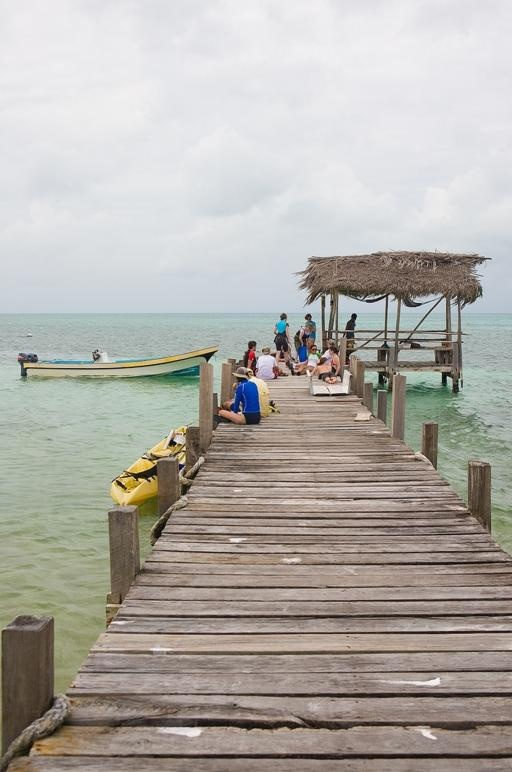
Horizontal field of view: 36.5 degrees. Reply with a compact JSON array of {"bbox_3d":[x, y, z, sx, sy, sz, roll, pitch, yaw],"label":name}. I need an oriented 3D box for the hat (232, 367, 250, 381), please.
[{"bbox_3d":[-0.157,-0.133,10.910,0.243,0.083,0.228,16,-5,-25],"label":"hat"}]

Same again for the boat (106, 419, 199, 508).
[{"bbox_3d":[-1.648,1.167,12.194,0.819,0.529,2.613,-23,9,19],"label":"boat"}]
